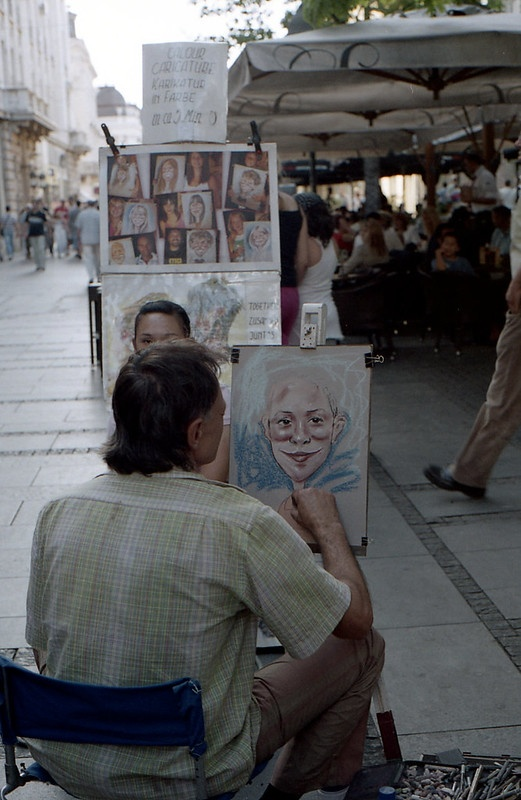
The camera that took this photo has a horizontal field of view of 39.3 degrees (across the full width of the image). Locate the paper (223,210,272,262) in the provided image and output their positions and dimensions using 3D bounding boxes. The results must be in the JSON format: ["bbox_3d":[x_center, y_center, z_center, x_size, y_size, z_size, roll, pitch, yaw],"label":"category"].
[{"bbox_3d":[-0.061,-0.806,3.562,0.253,0.265,0.013,-4,5,-6],"label":"paper"}]

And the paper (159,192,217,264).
[{"bbox_3d":[-0.350,-0.837,3.583,0.370,0.408,0.020,-2,-1,-4],"label":"paper"}]

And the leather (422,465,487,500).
[{"bbox_3d":[1.210,0.508,4.471,0.328,0.141,0.117,27,4,-5],"label":"leather"}]
